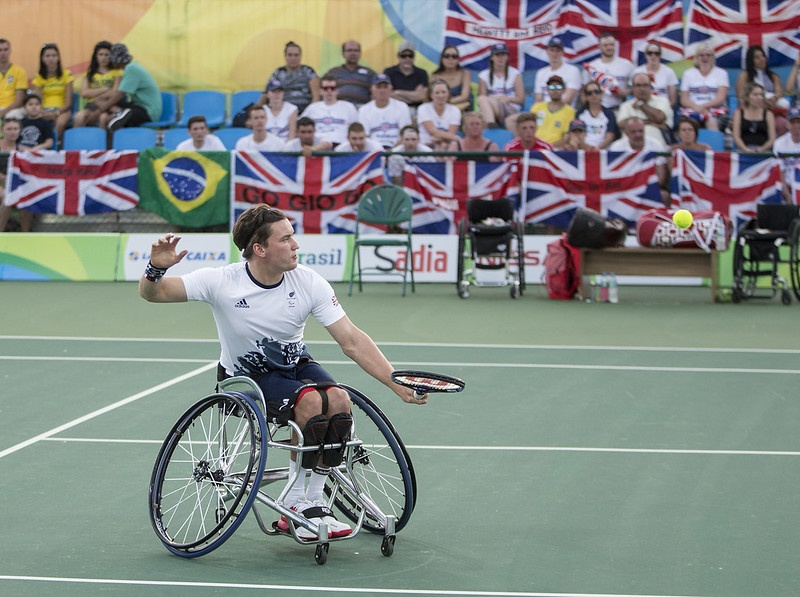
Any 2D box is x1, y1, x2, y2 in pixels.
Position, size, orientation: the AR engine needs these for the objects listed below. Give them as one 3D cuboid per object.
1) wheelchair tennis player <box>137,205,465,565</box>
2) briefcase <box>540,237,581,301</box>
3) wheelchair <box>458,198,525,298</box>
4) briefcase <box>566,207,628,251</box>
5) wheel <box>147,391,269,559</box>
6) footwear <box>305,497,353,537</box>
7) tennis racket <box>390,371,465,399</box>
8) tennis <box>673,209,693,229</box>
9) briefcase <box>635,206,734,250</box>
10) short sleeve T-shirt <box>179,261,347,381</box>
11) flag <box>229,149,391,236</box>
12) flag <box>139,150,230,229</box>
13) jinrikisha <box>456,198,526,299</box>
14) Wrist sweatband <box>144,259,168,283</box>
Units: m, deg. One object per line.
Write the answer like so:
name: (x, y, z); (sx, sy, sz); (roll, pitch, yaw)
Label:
wheelchair tennis player: (-0.717, 0.570, 7.268); (2.000, 2.382, 1.595); (-2, 2, -12)
briefcase: (2.637, -0.482, 16.702); (0.538, 1.023, 0.454); (0, 3, 8)
wheelchair: (1.566, -0.820, 16.942); (1.081, 1.565, 1.275); (-1, 7, 32)
briefcase: (3.128, -0.896, 16.565); (0.900, 0.848, 0.736); (-7, -17, 25)
wheel: (-1.343, 1.279, 7.336); (0.115, 0.886, 0.843); (12, 8, -40)
footwear: (-0.456, 1.464, 6.968); (0.142, 0.189, 0.419); (-1, 6, -32)
tennis racket: (0.189, 0.563, 6.911); (0.516, 0.120, 0.192); (1, 4, 40)
tennis: (4.368, -1.159, 15.989); (0.273, 0.288, 0.278); (2, -15, -5)
briefcase: (4.423, -1.027, 16.240); (0.935, 0.429, 0.784); (3, -1, 12)
short sleeve T-shirt: (-1.123, 0.239, 8.395); (1.223, 0.758, 0.370); (-4, 12, -20)
flag: (-1.319, -1.747, 17.060); (2.185, 1.370, 0.087); (1, 10, 7)
flag: (-3.870, -1.994, 18.848); (1.239, 1.032, 0.136); (6, 5, 9)
jinrikisha: (1.535, -0.861, 16.734); (1.181, 1.838, 1.505); (1, -3, 0)
Wrist sweatband: (-1.641, -0.165, 6.970); (0.114, 0.113, 0.143); (22, -2, 23)
